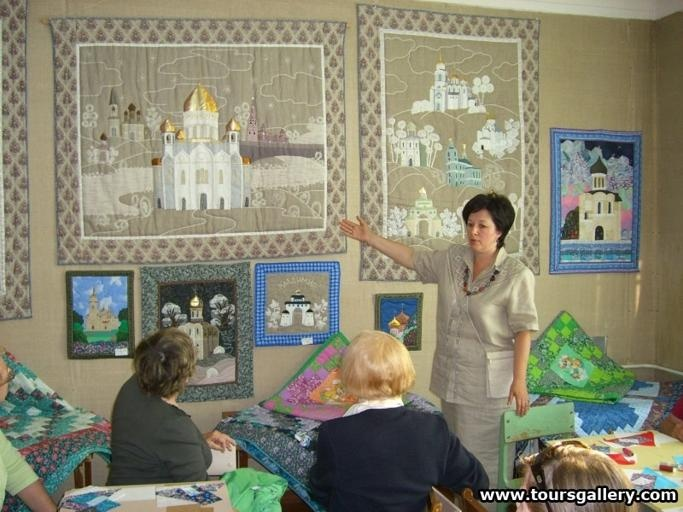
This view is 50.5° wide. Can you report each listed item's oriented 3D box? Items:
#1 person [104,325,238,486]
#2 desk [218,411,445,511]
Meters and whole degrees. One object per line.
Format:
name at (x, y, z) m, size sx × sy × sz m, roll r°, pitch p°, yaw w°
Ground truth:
person at (-1.067, 0.860, 4.231) m, size 0.624 × 0.862 × 0.432 m, roll -2°, pitch 3°, yaw -20°
desk at (-0.396, 1.401, 5.224) m, size 0.769 × 0.378 × 0.577 m, roll 31°, pitch -9°, yaw 45°
